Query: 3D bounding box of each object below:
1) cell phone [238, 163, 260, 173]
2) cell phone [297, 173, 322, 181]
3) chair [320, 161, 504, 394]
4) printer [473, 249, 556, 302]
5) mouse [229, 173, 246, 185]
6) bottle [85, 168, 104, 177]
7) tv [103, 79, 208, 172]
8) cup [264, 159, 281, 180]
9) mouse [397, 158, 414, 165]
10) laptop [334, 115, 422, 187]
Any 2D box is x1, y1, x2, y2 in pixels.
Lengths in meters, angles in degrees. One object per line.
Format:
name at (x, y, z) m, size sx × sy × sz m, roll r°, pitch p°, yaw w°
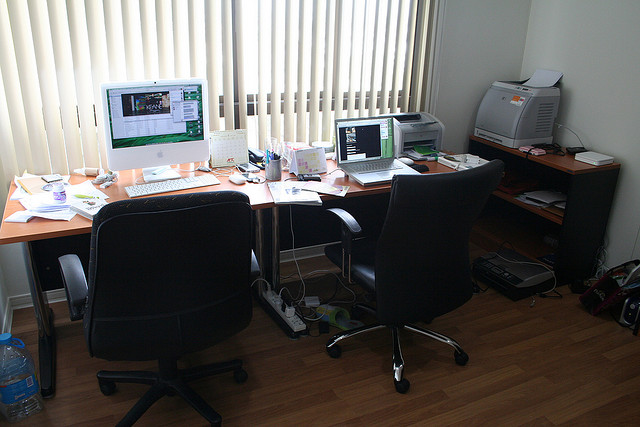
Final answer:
cell phone at (-0.532, -0.345, 3.425) m, size 0.097 × 0.022 × 0.101 m, roll -5°, pitch 28°, yaw -31°
cell phone at (-0.077, -0.266, 3.327) m, size 0.175 × 0.046 × 0.078 m, roll -5°, pitch 26°, yaw 0°
chair at (0.593, 0.463, 3.016) m, size 1.048 × 1.448 × 1.057 m, roll -13°, pitch 35°, yaw -22°
printer at (1.609, 0.495, 3.865) m, size 0.505 × 0.173 × 0.526 m, roll -12°, pitch 22°, yaw -21°
mouse at (-0.581, -0.250, 3.250) m, size 0.098 × 0.048 × 0.122 m, roll -21°, pitch 30°, yaw -30°
bottle at (-1.584, -0.300, 3.238) m, size 0.100 × 0.029 × 0.071 m, roll 4°, pitch 27°, yaw 3°
tv at (-1.122, -0.622, 3.118) m, size 0.636 × 0.551 × 0.196 m, roll -7°, pitch 21°, yaw -20°
cup at (-0.321, -0.329, 3.308) m, size 0.135 × 0.139 × 0.132 m, roll -1°, pitch 25°, yaw 0°
mouse at (0.677, -0.419, 3.576) m, size 0.061 × 0.022 × 0.085 m, roll 24°, pitch 24°, yaw 17°
laptop at (0.426, -0.477, 3.349) m, size 0.567 × 0.348 × 0.466 m, roll -7°, pitch 27°, yaw -21°
